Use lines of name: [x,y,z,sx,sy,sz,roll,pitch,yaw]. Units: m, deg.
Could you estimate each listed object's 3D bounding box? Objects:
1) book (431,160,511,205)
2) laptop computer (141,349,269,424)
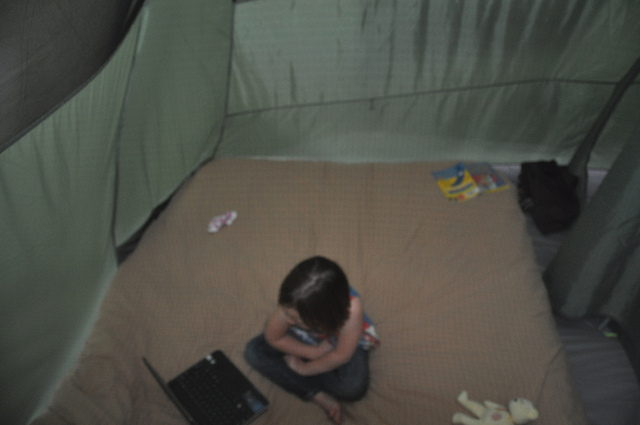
book: [0.912,-0.187,3.101,0.380,0.095,0.257,-6,54,-21]
laptop computer: [-0.488,0.795,2.312,0.281,0.282,0.353,-37,64,-15]
